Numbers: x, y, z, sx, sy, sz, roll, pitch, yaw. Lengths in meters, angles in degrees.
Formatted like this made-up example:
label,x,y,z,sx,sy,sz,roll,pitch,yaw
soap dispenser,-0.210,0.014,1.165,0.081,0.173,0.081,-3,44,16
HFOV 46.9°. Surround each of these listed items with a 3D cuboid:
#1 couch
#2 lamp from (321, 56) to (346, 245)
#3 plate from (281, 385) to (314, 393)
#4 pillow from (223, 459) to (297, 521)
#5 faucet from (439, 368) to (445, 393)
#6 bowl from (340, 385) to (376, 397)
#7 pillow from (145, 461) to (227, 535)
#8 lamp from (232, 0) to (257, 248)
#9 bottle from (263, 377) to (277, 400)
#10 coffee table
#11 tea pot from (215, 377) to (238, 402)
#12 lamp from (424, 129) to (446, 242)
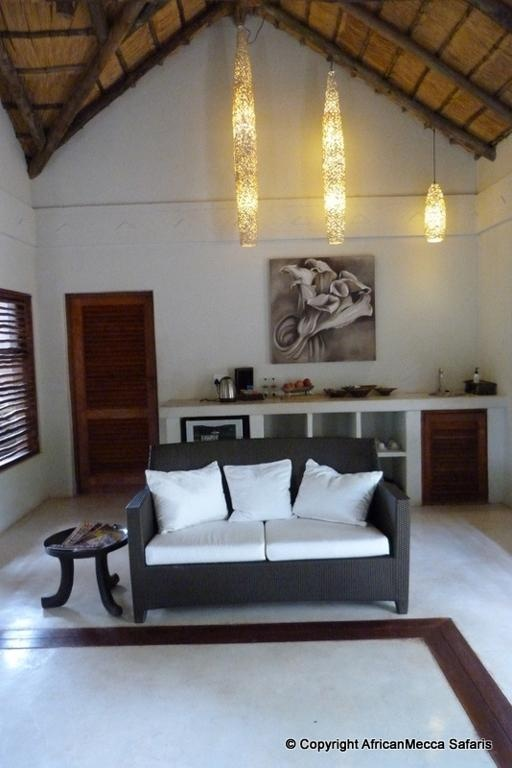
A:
label,x,y,z,sx,sy,sz,roll,pitch,yaw
couch,0.062,0.772,3.247,1.372,0.859,0.759,-1,0,-2
lamp,0.574,-1.664,4.356,0.145,1.170,0.479,-1,4,7
plate,0.371,0.047,5.295,0.284,0.093,0.094,0,0,-14
pillow,0.026,0.630,3.420,0.384,0.347,0.150,-6,3,-1
faucet,1.716,-0.046,5.452,0.058,0.199,0.077,-1,4,14
bowl,0.879,0.070,5.118,0.235,0.088,0.178,-1,4,17
pillow,-0.385,0.634,3.313,0.470,0.379,0.175,1,-18,-36
lamp,-0.083,-1.848,4.261,0.152,1.589,0.521,-2,4,-1
bottle,0.123,0.029,5.413,0.135,0.172,0.214,-2,4,0
coffee table,-0.893,0.981,3.144,0.441,0.363,0.463,3,7,44
tea pot,-0.258,0.052,5.197,0.208,0.233,0.179,-3,2,1
lamp,1.514,-1.714,5.003,0.182,1.066,0.687,-1,4,17
